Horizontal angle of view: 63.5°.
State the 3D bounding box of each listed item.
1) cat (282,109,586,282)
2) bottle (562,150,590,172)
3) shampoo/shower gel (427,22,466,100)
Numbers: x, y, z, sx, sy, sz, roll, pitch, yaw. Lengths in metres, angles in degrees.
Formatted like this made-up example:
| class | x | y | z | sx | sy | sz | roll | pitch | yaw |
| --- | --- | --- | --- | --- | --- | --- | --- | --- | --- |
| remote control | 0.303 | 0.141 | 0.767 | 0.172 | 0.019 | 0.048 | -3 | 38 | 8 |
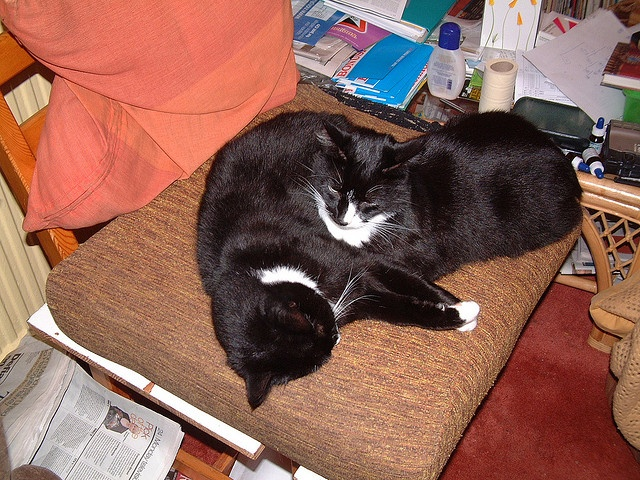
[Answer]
| class | x | y | z | sx | sy | sz | roll | pitch | yaw |
| --- | --- | --- | --- | --- | --- | --- | --- | --- | --- |
| cat | 0.400 | -0.161 | 1.597 | 0.792 | 0.406 | 0.556 | -19 | 24 | -13 |
| bottle | 0.795 | -0.240 | 1.601 | 0.030 | 0.035 | 0.098 | -42 | 36 | 16 |
| shampoo/shower gel | 0.464 | -0.647 | 1.874 | 0.145 | 0.271 | 0.083 | 25 | 53 | 27 |
